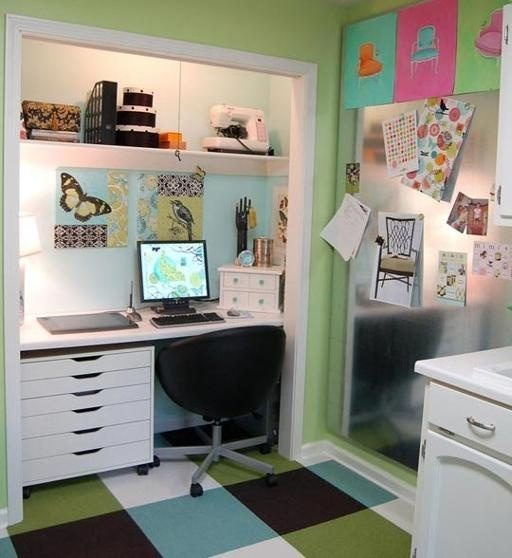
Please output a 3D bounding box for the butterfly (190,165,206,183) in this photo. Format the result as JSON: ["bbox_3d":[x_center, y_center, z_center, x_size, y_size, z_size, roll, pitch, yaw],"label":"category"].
[{"bbox_3d":[-0.322,-0.611,2.911,0.090,0.092,0.041,-2,7,-35],"label":"butterfly"}]

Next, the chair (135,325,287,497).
[{"bbox_3d":[-0.201,0.508,2.510,0.665,0.786,0.643,-1,6,-28],"label":"chair"}]

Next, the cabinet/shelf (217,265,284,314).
[{"bbox_3d":[-0.039,0.052,2.808,0.306,0.271,0.244,1,11,-29],"label":"cabinet/shelf"}]
